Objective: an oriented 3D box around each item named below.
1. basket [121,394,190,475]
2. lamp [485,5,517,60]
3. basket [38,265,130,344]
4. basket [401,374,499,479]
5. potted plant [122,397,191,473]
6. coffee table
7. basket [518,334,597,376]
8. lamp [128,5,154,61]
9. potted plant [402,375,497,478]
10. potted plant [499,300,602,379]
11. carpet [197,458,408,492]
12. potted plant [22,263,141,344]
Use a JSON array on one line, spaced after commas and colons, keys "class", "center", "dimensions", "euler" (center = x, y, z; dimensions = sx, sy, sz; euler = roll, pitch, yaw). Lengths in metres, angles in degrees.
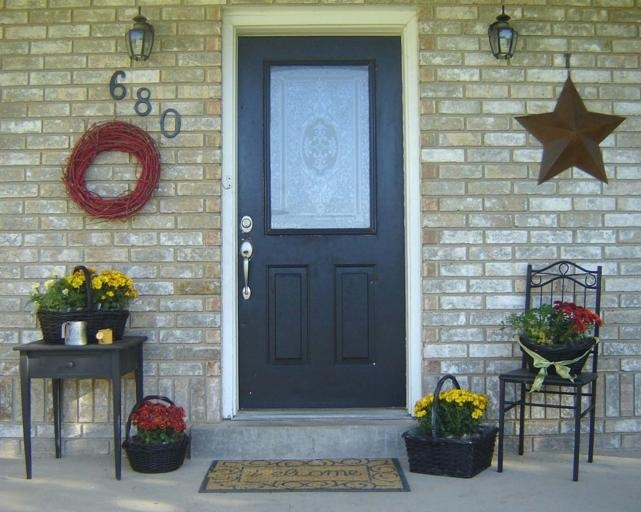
[{"class": "basket", "center": [-0.952, 1.034, 5.769], "dimensions": [0.388, 0.378, 0.387], "euler": [4, -2, -29]}, {"class": "lamp", "center": [1.105, -1.366, 5.964], "dimensions": [0.178, 0.303, 0.180], "euler": [1, 0, 7]}, {"class": "basket", "center": [-1.363, 0.283, 5.777], "dimensions": [0.613, 0.446, 0.340], "euler": [1, 0, -23]}, {"class": "basket", "center": [0.738, 0.972, 5.767], "dimensions": [0.509, 0.426, 0.561], "euler": [2, 11, 33]}, {"class": "potted plant", "center": [-0.941, 1.040, 5.650], "dimensions": [0.467, 0.456, 0.448], "euler": [2, -9, -12]}, {"class": "coffee table", "center": [-1.400, 0.872, 5.729], "dimensions": [0.725, 0.816, 0.503], "euler": [1, 0, -5]}, {"class": "basket", "center": [1.404, 0.576, 5.768], "dimensions": [0.457, 0.188, 0.435], "euler": [0, 11, 14]}, {"class": "lamp", "center": [-1.087, -1.308, 5.898], "dimensions": [0.118, 0.297, 0.141], "euler": [1, 0, 43]}, {"class": "potted plant", "center": [0.833, 0.965, 5.845], "dimensions": [0.628, 0.541, 0.662], "euler": [-2, -3, 23]}, {"class": "potted plant", "center": [1.363, 0.480, 5.658], "dimensions": [0.540, 0.287, 0.451], "euler": [1, -2, 2]}, {"class": "carpet", "center": [-0.087, 1.246, 5.611], "dimensions": [1.166, 0.161, 0.428], "euler": [1, 0, 0]}, {"class": "potted plant", "center": [-1.381, 0.286, 5.690], "dimensions": [0.592, 0.330, 0.503], "euler": [1, -6, -6]}]
